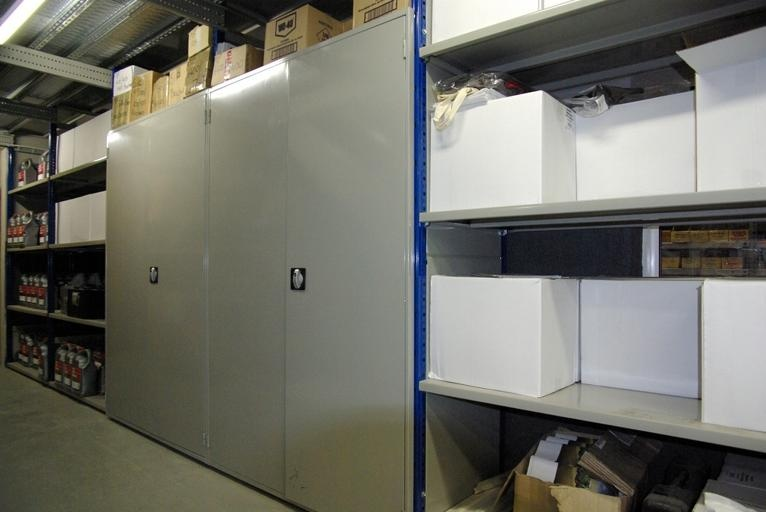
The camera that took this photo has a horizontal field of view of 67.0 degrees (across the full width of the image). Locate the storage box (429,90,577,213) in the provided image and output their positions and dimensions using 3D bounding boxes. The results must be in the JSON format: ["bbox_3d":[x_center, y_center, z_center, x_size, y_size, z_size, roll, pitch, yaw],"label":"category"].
[{"bbox_3d":[0.496,-0.395,2.427,0.498,0.521,0.371,10,12,36],"label":"storage box"}]

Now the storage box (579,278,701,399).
[{"bbox_3d":[1.064,0.334,2.338,0.435,0.450,0.148,-1,-3,34],"label":"storage box"}]

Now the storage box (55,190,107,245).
[{"bbox_3d":[-2.286,-0.271,4.359,0.440,0.294,0.238,0,4,32],"label":"storage box"}]

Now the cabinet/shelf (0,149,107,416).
[{"bbox_3d":[-2.734,0.227,4.796,1.931,1.994,0.596,1,-1,37],"label":"cabinet/shelf"}]

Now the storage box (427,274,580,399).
[{"bbox_3d":[0.507,0.273,2.462,0.489,0.393,0.492,0,-1,-44],"label":"storage box"}]

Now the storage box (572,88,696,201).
[{"bbox_3d":[1.032,-0.453,2.394,0.547,0.499,0.197,2,21,-3],"label":"storage box"}]
